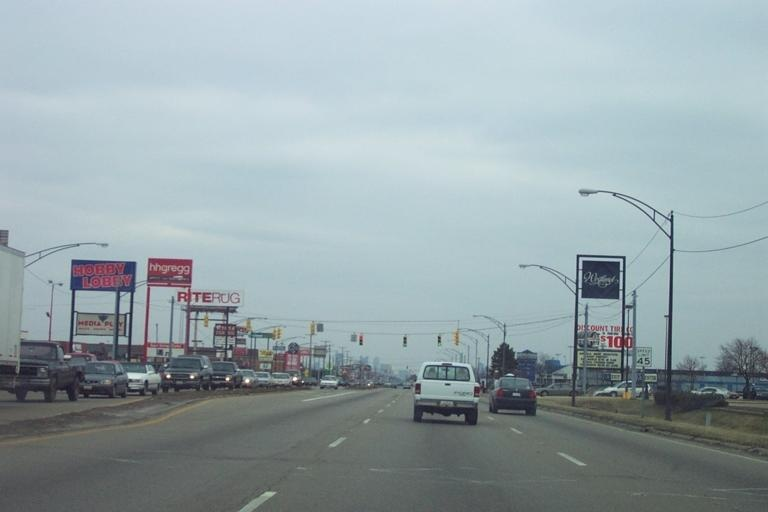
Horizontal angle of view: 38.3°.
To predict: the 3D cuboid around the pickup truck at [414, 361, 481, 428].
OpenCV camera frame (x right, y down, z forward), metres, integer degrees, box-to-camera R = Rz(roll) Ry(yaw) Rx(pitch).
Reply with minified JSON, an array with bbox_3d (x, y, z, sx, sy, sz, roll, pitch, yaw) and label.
[{"bbox_3d":[2.809,6.124,49.691,2.778,2.726,1.125,0,-10,6],"label":"pickup truck"}]
